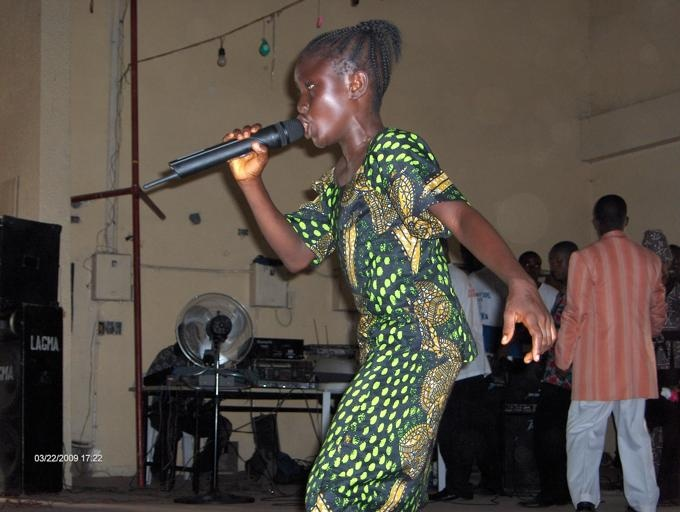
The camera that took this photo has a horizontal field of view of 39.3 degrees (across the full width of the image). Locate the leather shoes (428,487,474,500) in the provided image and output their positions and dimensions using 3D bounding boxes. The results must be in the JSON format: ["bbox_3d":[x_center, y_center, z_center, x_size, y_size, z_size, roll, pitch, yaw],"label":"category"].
[{"bbox_3d":[0.875,1.862,7.548,0.350,0.147,0.125,3,-16,4],"label":"leather shoes"}]
